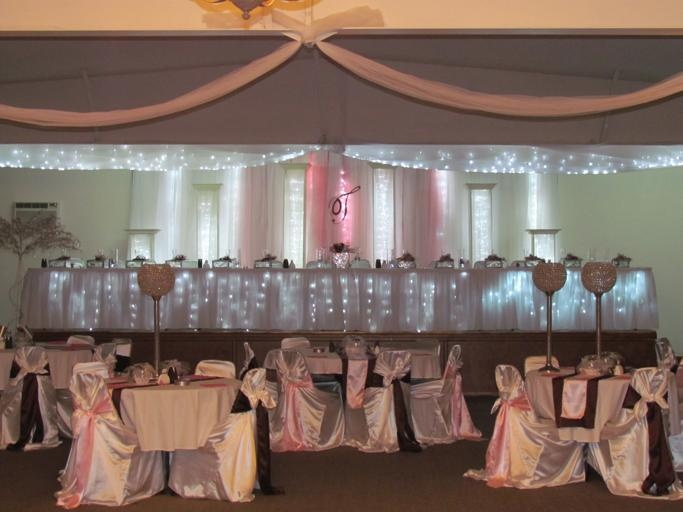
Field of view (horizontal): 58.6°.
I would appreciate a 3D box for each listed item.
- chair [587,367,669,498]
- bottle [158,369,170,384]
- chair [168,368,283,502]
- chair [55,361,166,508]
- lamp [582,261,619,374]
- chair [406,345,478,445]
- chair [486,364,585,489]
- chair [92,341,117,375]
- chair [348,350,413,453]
[{"bbox_3d":[2.146,1.230,4.777,0.715,0.920,0.866,1,-1,37],"label":"chair"},{"bbox_3d":[-1.297,0.888,4.452,0.074,0.089,0.079,1,-4,-24],"label":"bottle"},{"bbox_3d":[-0.817,1.300,4.822,0.807,1.089,0.867,1,-4,4],"label":"chair"},{"bbox_3d":[-1.699,1.348,4.739,0.725,0.963,0.893,-1,-2,39],"label":"chair"},{"bbox_3d":[2.054,0.474,4.858,0.266,0.852,0.390,-1,1,24],"label":"lamp"},{"bbox_3d":[0.988,1.222,6.072,0.831,0.846,0.641,6,24,30],"label":"chair"},{"bbox_3d":[1.535,1.276,4.839,0.766,0.891,0.686,-3,7,-5],"label":"chair"},{"bbox_3d":[-2.248,1.012,5.825,0.211,0.306,0.226,-9,-25,8],"label":"chair"},{"bbox_3d":[0.318,1.325,5.591,0.637,0.893,0.337,-1,1,10],"label":"chair"}]
